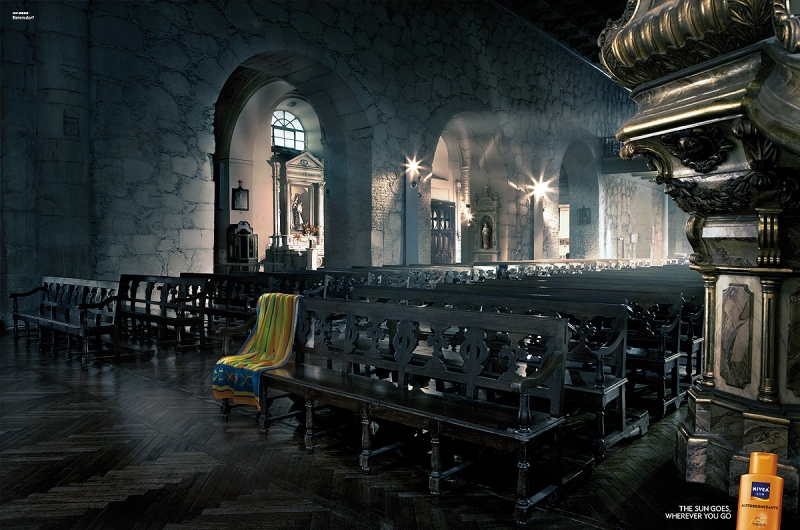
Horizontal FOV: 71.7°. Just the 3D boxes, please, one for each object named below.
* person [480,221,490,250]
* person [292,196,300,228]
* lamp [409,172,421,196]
[{"bbox_3d":[2.463,-0.815,15.905,0.326,0.737,0.137,2,8,19],"label":"person"},{"bbox_3d":[-3.293,-1.701,17.717,0.281,1.030,0.564,-2,7,-11],"label":"person"},{"bbox_3d":[0.343,-1.914,13.090,0.129,0.450,0.344,4,10,31],"label":"lamp"}]
